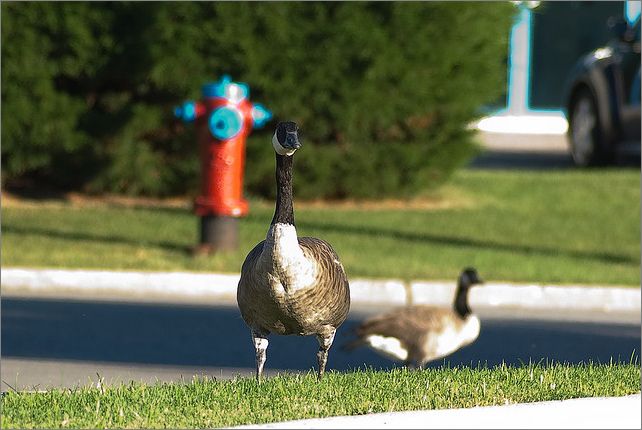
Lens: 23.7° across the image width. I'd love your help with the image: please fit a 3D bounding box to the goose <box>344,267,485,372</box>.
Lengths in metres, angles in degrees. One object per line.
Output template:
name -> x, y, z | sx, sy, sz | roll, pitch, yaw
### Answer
goose -> 1.270, 1.568, 21.560 | 1.743, 1.480, 0.906 | -2, -4, 2
